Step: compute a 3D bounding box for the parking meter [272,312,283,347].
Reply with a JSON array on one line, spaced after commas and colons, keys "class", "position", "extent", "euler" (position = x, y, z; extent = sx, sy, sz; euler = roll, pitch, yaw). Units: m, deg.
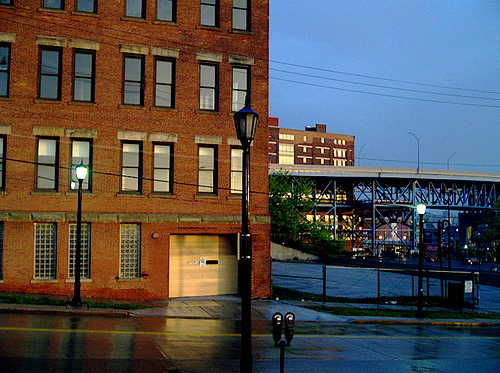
[{"class": "parking meter", "position": [1.197, 6.206, 42.864], "extent": [0.376, 1.396, 0.404], "euler": [0, -5, -5]}]
